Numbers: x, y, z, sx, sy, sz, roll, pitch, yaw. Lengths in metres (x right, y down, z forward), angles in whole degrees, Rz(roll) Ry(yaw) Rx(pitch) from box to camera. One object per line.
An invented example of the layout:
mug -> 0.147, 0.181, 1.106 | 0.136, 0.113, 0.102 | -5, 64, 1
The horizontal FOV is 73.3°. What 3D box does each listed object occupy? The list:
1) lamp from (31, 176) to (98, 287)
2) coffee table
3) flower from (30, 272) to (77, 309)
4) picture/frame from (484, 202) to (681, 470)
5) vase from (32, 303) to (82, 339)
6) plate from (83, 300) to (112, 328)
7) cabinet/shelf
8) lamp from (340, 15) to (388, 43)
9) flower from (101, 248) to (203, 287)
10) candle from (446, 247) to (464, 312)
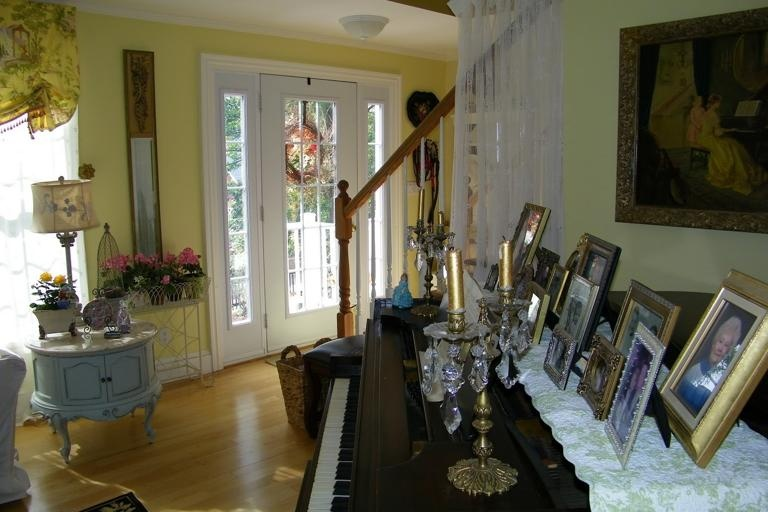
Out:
lamp -> -2.204, -0.177, 3.581 | 0.381, 0.748, 0.314 | -8, 14, -29
coffee table -> -1.947, 0.890, 3.533 | 0.800, 0.688, 0.745 | -3, 7, -32
flower -> -2.254, 0.209, 3.527 | 0.183, 0.183, 0.166 | 5, 14, -44
picture/frame -> 0.520, 0.205, 1.862 | 0.583, 0.769, 0.799 | -2, 11, -4
vase -> -2.235, 0.431, 3.501 | 0.290, 0.189, 0.320 | -3, 7, -19
plate -> -1.905, 0.384, 3.413 | 0.180, 0.187, 0.043 | -3, 4, -13
cabinet/shelf -> -1.762, 0.575, 3.880 | 0.739, 0.908, 0.219 | -12, 19, -38
lamp -> -0.181, -1.964, 4.388 | 0.353, 0.147, 0.289 | 9, 15, 41
flower -> -1.812, 0.114, 4.059 | 0.500, 0.175, 0.401 | -1, 8, -15
candle -> 0.165, 0.058, 1.186 | 0.037, 0.154, 0.037 | -2, 1, 15
